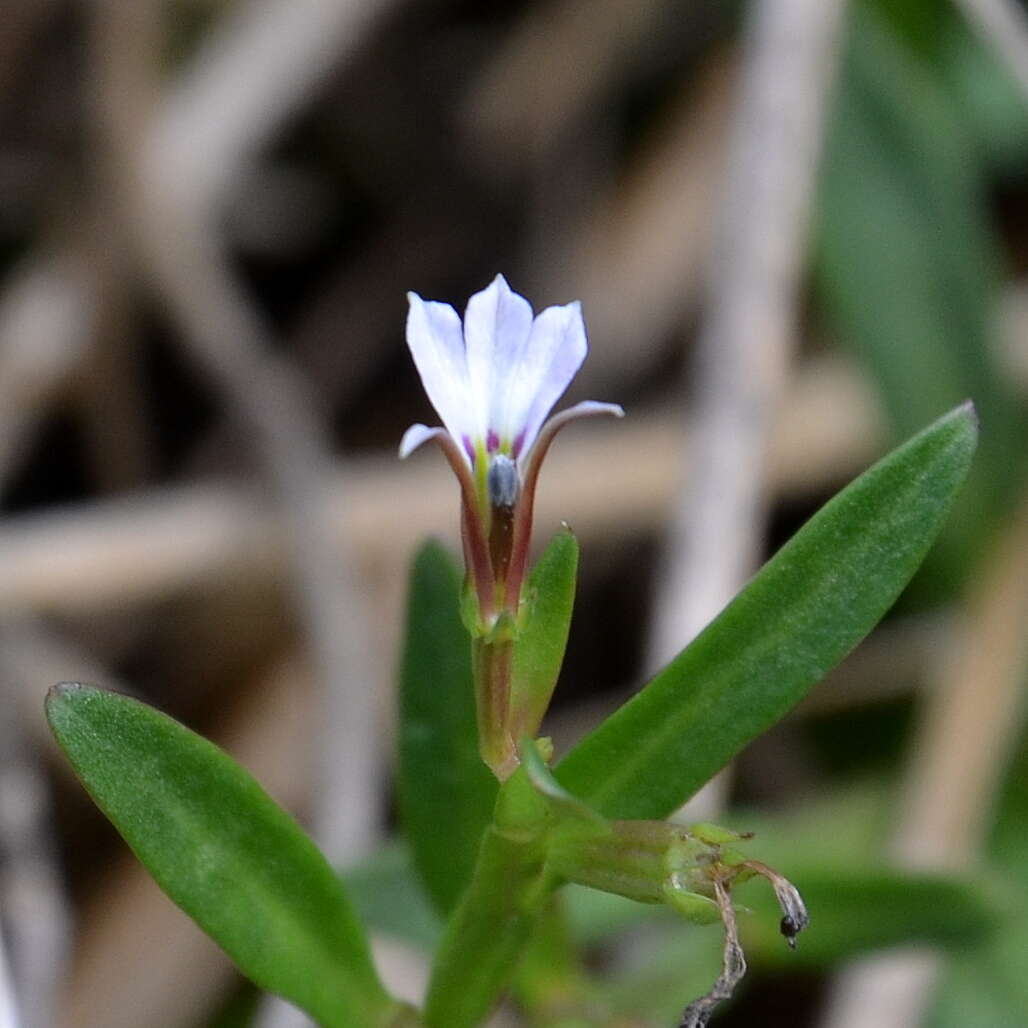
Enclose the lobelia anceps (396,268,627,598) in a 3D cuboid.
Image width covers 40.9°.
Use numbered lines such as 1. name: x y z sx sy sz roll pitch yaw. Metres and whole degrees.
1. lobelia anceps: -0.009 -0.075 1.421 0.217 0.356 0.250 -4 -1 -6
